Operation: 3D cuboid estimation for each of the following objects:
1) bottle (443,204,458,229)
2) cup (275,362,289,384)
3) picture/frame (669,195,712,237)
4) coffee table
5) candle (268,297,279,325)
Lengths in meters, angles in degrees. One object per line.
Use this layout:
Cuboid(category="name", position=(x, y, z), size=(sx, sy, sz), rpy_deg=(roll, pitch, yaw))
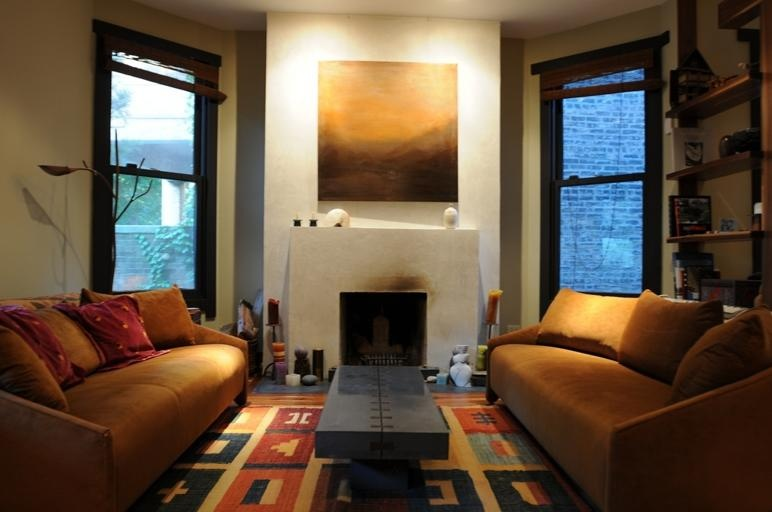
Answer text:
Cuboid(category="bottle", position=(0.664, -0.401, 5.735), size=(0.157, 0.198, 0.226), rpy_deg=(2, 13, 5))
Cuboid(category="cup", position=(-1.011, 1.139, 5.398), size=(0.114, 0.183, 0.120), rpy_deg=(0, 13, 0))
Cuboid(category="picture/frame", position=(2.805, -0.355, 5.152), size=(0.310, 0.403, 0.047), rpy_deg=(0, -22, 24))
Cuboid(category="coffee table", position=(-0.025, 1.208, 3.936), size=(0.823, 0.465, 0.984), rpy_deg=(1, 13, 1))
Cuboid(category="candle", position=(-1.129, 0.561, 5.634), size=(0.118, 0.244, 0.272), rpy_deg=(-2, 13, -12))
